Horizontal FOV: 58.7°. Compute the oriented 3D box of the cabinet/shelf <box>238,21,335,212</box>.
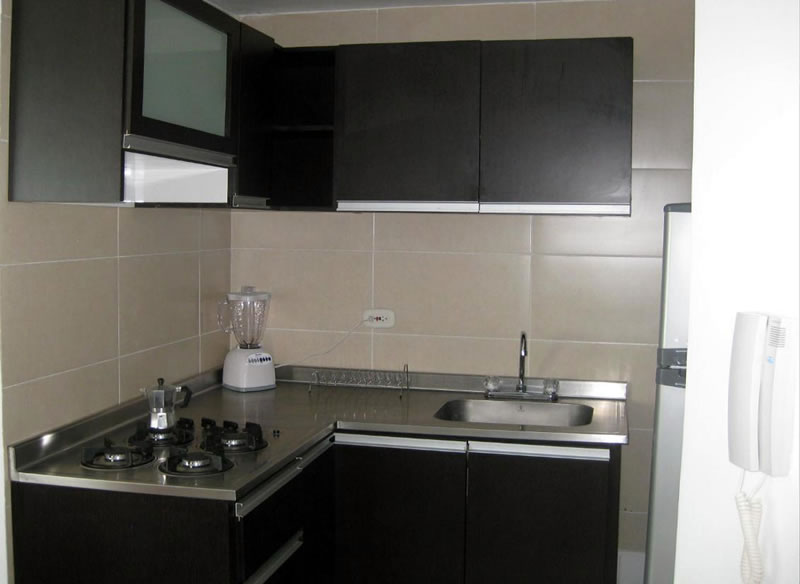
[{"bbox_3d":[-0.462,-0.695,2.961,0.342,0.703,0.548,1,4,0],"label":"cabinet/shelf"}]

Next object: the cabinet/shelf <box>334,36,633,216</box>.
[{"bbox_3d":[0.324,-0.700,3.084,1.257,0.665,0.457,-2,9,-6],"label":"cabinet/shelf"}]

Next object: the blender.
[{"bbox_3d":[-0.719,0.212,3.355,0.264,0.462,0.333,0,4,-13],"label":"blender"}]

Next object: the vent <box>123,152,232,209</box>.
[{"bbox_3d":[-0.726,-0.356,2.309,0.059,0.156,0.448,7,8,30],"label":"vent"}]

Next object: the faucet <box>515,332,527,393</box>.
[{"bbox_3d":[0.553,0.313,3.209,0.047,0.259,0.114,2,4,12],"label":"faucet"}]
